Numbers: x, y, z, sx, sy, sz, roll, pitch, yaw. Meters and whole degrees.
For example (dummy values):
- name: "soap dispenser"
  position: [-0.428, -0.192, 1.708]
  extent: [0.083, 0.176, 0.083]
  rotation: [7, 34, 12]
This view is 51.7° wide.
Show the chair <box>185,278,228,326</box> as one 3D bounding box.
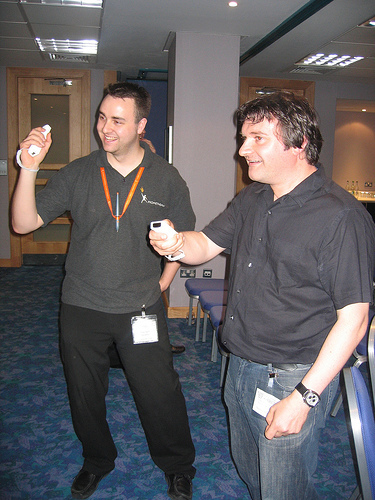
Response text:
- name: "chair"
  position: [0.170, 0.442, 3.785]
  extent: [0.552, 0.237, 0.358]
  rotation: [0, 8, -11]

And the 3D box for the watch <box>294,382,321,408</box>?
- name: "watch"
  position: [0.305, 0.363, 0.976]
  extent: [0.054, 0.038, 0.059]
  rotation: [31, -12, 44]
